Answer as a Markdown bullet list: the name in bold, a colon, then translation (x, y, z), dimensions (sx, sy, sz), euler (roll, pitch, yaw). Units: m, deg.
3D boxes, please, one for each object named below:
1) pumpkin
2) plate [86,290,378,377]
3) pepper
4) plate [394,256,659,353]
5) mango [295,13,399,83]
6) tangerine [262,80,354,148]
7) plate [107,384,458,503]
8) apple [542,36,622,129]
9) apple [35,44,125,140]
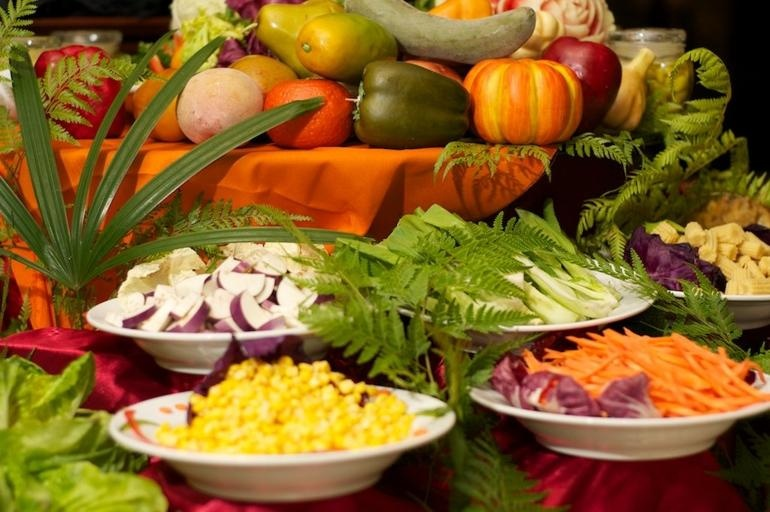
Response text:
- **pumpkin**: translation (0.309, -0.314, 1.363), dimensions (0.218, 0.181, 0.238), euler (-1, 12, 21)
- **plate**: translation (-0.288, 0.077, 0.904), dimensions (0.182, 0.045, 0.176), euler (5, 4, 20)
- **pepper**: translation (0.034, -0.321, 1.364), dimensions (0.245, 0.169, 0.214), euler (-8, 14, -30)
- **plate**: translation (0.281, 0.043, 1.113), dimensions (0.297, 0.134, 0.243), euler (-6, 12, -15)
- **mango**: translation (-0.088, -0.463, 1.379), dimensions (0.229, 0.139, 0.147), euler (-21, 35, -40)
- **tangerine**: translation (-0.135, -0.276, 1.286), dimensions (0.164, 0.147, 0.230), euler (6, 15, 32)
- **plate**: translation (-0.161, 0.228, 0.903), dimensions (0.340, 0.120, 0.401), euler (-1, -1, -18)
- **apple**: translation (0.441, -0.384, 1.434), dimensions (0.178, 0.192, 0.180), euler (-3, 6, -13)
- **apple**: translation (-0.643, -0.346, 1.326), dimensions (0.154, 0.195, 0.332), euler (-12, 33, -26)
